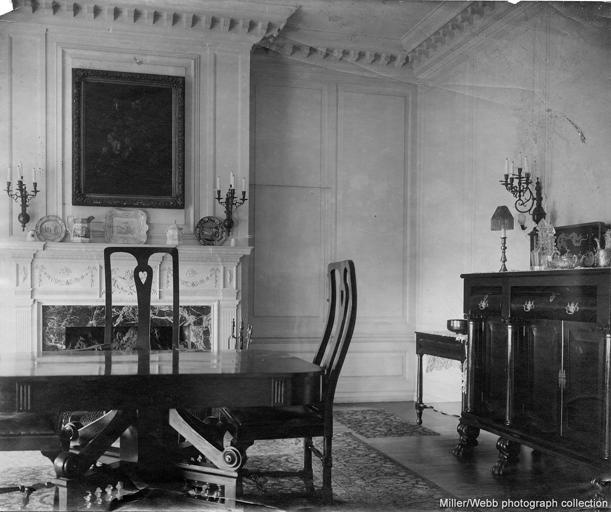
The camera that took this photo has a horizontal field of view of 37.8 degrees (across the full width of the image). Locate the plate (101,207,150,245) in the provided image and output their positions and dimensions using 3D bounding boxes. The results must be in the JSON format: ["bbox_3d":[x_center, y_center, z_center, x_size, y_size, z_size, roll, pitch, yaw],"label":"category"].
[{"bbox_3d":[-0.822,-0.116,4.169,0.206,0.247,0.030,-3,-41,-11],"label":"plate"}]

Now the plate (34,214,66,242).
[{"bbox_3d":[-1.130,-0.124,3.997,0.136,0.124,0.123,0,1,-16],"label":"plate"}]

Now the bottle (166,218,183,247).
[{"bbox_3d":[-0.602,-0.117,4.185,0.107,0.140,0.103,0,-4,0],"label":"bottle"}]

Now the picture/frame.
[{"bbox_3d":[-0.791,-0.543,3.933,0.601,0.718,0.068,-3,9,-33],"label":"picture/frame"}]

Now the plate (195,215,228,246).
[{"bbox_3d":[-0.441,-0.123,4.245,0.141,0.141,0.021,2,-2,3],"label":"plate"}]

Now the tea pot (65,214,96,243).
[{"bbox_3d":[-1.016,-0.136,4.047,0.120,0.121,0.094,0,-1,-14],"label":"tea pot"}]
